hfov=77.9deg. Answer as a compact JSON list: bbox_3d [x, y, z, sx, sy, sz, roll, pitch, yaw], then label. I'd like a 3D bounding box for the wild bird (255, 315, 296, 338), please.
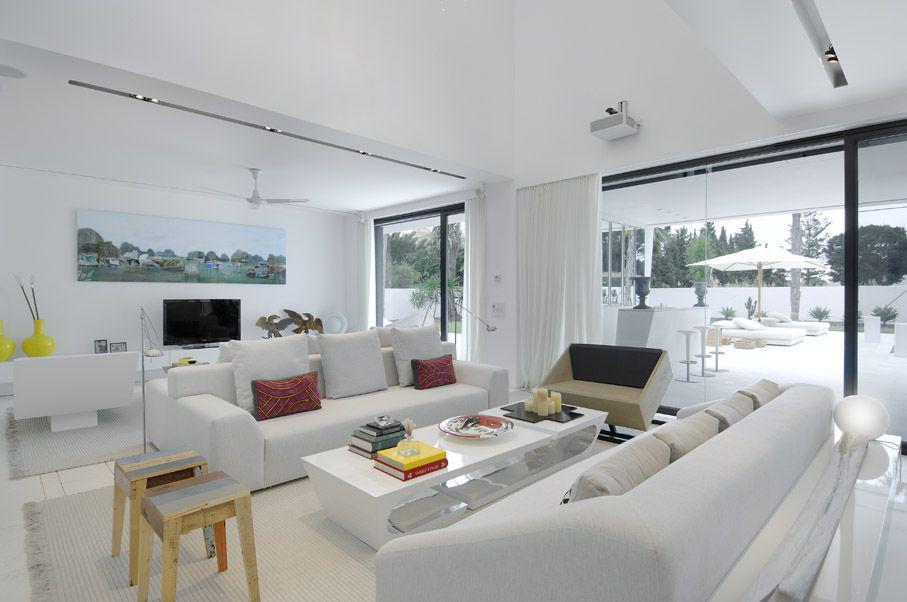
[{"bbox_3d":[-2.947,0.343,9.295,0.704,0.372,0.479,-6,-12,3],"label":"wild bird"}]

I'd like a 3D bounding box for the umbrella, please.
[{"bbox_3d":[3.082,-0.147,5.634,0.776,0.500,0.734,1,-5,13],"label":"umbrella"}]

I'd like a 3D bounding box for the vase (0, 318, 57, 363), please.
[{"bbox_3d":[-5.132,0.479,6.709,0.536,0.314,0.211,0,1,-24],"label":"vase"}]

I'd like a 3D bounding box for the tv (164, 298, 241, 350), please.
[{"bbox_3d":[-3.765,0.337,8.266,0.794,0.558,0.253,1,1,-41],"label":"tv"}]

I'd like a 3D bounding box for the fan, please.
[{"bbox_3d":[-2.582,-1.426,7.533,0.923,0.394,0.870,-3,5,-42],"label":"fan"}]

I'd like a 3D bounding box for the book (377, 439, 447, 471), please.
[{"bbox_3d":[-0.271,1.077,3.909,0.264,0.062,0.266,2,2,43],"label":"book"}]

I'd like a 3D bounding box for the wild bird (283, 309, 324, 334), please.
[{"bbox_3d":[-2.542,0.363,9.402,0.615,0.306,0.595,7,-2,-25],"label":"wild bird"}]

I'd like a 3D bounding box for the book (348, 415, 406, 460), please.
[{"bbox_3d":[-0.557,0.989,4.149,0.285,0.174,0.362,-1,-1,39],"label":"book"}]
